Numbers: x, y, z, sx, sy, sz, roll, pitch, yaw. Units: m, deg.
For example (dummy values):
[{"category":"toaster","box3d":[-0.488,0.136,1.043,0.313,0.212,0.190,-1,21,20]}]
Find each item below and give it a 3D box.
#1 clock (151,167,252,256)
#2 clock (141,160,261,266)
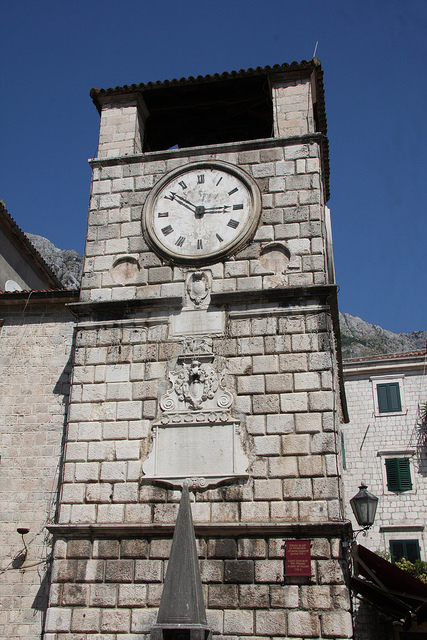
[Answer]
[{"category":"clock","box3d":[-0.133,-1.545,10.775,1.598,1.586,0.097,1,-32,13]},{"category":"clock","box3d":[-0.127,-1.517,10.751,1.955,1.941,0.112,-2,-38,15]}]
